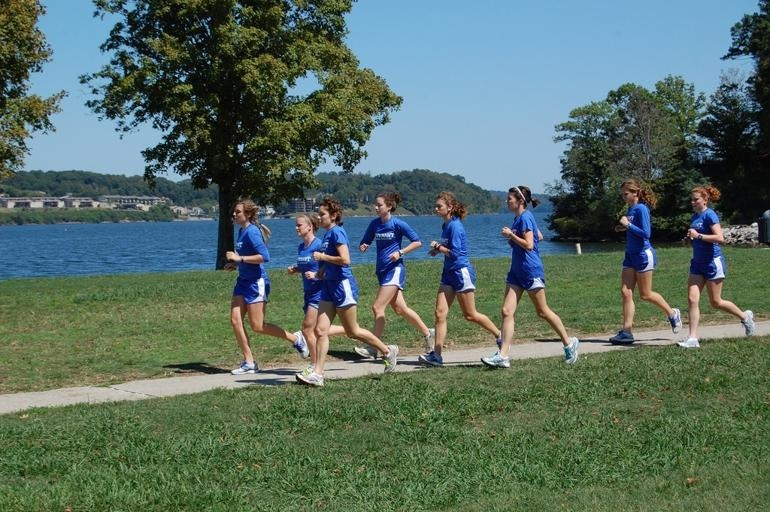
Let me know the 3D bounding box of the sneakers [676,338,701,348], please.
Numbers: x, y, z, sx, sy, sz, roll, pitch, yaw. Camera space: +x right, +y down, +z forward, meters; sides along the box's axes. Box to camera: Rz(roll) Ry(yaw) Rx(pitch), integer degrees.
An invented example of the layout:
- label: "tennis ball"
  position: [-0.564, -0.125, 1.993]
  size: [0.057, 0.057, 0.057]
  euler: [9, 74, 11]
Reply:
- label: "sneakers"
  position: [5.755, 1.651, 18.989]
  size: [0.473, 0.183, 0.165]
  euler: [1, -4, 0]

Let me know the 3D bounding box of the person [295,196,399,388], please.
- label: "person"
  position: [-0.810, 0.601, 17.934]
  size: [1.657, 3.271, 0.514]
  euler: [-1, 0, -39]

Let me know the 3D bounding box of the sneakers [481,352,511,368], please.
- label: "sneakers"
  position: [1.958, 1.891, 18.171]
  size: [0.591, 0.262, 0.221]
  euler: [3, -6, 0]

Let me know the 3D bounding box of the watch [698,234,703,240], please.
- label: "watch"
  position: [6.066, -0.390, 19.271]
  size: [0.119, 0.070, 0.102]
  euler: [0, 3, 5]

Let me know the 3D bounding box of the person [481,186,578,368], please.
- label: "person"
  position: [2.518, 0.360, 18.220]
  size: [1.628, 3.294, 0.804]
  euler: [-1, 0, -21]

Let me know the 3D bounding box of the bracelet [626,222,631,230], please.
- label: "bracelet"
  position: [4.755, -0.617, 19.602]
  size: [0.106, 0.099, 0.028]
  euler: [-18, -27, 28]

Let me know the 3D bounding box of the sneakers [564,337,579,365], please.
- label: "sneakers"
  position: [3.408, 1.730, 18.355]
  size: [0.269, 0.553, 0.211]
  euler: [9, -16, -18]

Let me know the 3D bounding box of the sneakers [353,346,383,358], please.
- label: "sneakers"
  position: [-0.371, 1.923, 19.944]
  size: [0.574, 0.240, 0.207]
  euler: [11, 0, 4]

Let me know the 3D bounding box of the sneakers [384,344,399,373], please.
- label: "sneakers"
  position: [0.070, 1.897, 18.483]
  size: [0.198, 0.514, 0.237]
  euler: [-1, -14, 45]

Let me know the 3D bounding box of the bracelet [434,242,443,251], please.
- label: "bracelet"
  position: [0.950, -0.197, 18.439]
  size: [0.120, 0.058, 0.128]
  euler: [9, -15, -23]
